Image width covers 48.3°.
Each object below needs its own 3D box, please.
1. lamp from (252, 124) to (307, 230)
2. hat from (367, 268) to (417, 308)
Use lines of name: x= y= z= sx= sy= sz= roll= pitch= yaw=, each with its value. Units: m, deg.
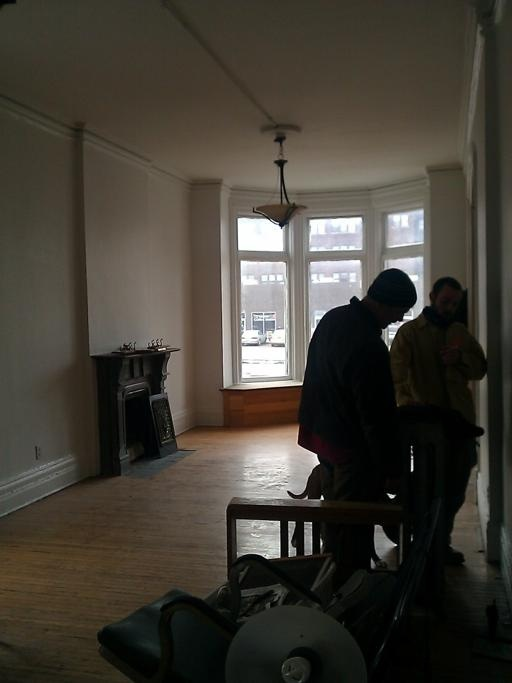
lamp: x=0.225 y=-1.510 z=5.274 sx=0.404 sy=0.877 sz=0.433 roll=0 pitch=1 yaw=37
hat: x=0.492 y=-0.184 z=2.044 sx=0.135 sy=0.120 sz=0.149 roll=12 pitch=11 yaw=11
